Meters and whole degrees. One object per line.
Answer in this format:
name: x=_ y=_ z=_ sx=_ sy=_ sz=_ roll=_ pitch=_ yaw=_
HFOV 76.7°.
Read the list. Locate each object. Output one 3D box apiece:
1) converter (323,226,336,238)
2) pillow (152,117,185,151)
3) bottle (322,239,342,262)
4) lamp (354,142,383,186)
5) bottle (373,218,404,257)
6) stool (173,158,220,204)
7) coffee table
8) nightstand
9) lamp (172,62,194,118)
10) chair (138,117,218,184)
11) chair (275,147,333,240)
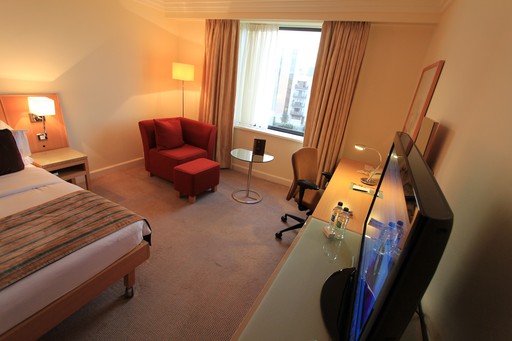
converter: x=0.683 y=0.560 z=2.978 sx=0.072 sy=0.066 sz=0.135 roll=-7 pitch=26 yaw=-13
pillow: x=-1.412 y=-0.607 z=5.412 sx=0.267 sy=0.476 sz=0.558 roll=17 pitch=22 yaw=29
bottle: x=0.679 y=0.697 z=2.877 sx=0.144 sy=0.245 sz=0.151 roll=0 pitch=35 yaw=0
lamp: x=1.591 y=-0.087 z=4.540 sx=0.486 sy=0.591 sz=0.364 roll=3 pitch=31 yaw=10
bottle: x=0.884 y=0.452 z=2.145 sx=0.120 sy=0.294 sz=0.067 roll=19 pitch=61 yaw=23
stool: x=-0.886 y=0.147 z=4.955 sx=0.385 sy=0.506 sz=0.622 roll=18 pitch=26 yaw=29
coffee table: x=-0.085 y=0.102 z=5.080 sx=0.629 sy=0.715 sz=0.642 roll=17 pitch=22 yaw=15
nightstand: x=-2.627 y=-0.094 z=4.380 sx=0.533 sy=0.560 sz=0.511 roll=28 pitch=35 yaw=24
lamp: x=-1.327 y=-1.461 z=6.027 sx=0.405 sy=1.023 sz=0.492 roll=-2 pitch=24 yaw=-14
chair: x=-1.309 y=-0.426 z=5.642 sx=1.128 sy=1.189 sz=1.183 roll=14 pitch=24 yaw=26
chair: x=0.770 y=0.320 z=4.235 sx=0.773 sy=1.095 sz=0.883 roll=13 pitch=15 yaw=24
